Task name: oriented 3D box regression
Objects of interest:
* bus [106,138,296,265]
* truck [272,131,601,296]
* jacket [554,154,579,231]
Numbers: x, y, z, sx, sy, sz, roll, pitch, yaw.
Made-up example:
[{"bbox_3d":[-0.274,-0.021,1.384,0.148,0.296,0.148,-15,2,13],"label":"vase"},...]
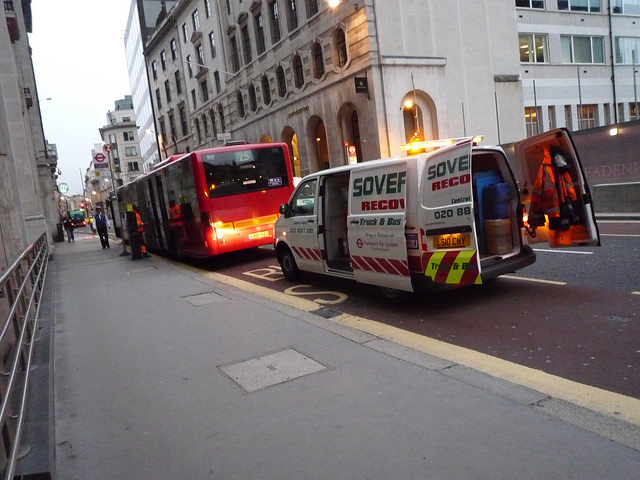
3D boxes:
[{"bbox_3d":[-5.008,-1.066,16.949,3.214,3.532,10.376,-7,6,-30],"label":"bus"},{"bbox_3d":[1.293,-0.327,8.186,2.586,2.076,4.561,-6,3,-39],"label":"truck"},{"bbox_3d":[4.295,-0.805,7.847,0.386,1.291,0.179,1,10,29],"label":"jacket"}]
